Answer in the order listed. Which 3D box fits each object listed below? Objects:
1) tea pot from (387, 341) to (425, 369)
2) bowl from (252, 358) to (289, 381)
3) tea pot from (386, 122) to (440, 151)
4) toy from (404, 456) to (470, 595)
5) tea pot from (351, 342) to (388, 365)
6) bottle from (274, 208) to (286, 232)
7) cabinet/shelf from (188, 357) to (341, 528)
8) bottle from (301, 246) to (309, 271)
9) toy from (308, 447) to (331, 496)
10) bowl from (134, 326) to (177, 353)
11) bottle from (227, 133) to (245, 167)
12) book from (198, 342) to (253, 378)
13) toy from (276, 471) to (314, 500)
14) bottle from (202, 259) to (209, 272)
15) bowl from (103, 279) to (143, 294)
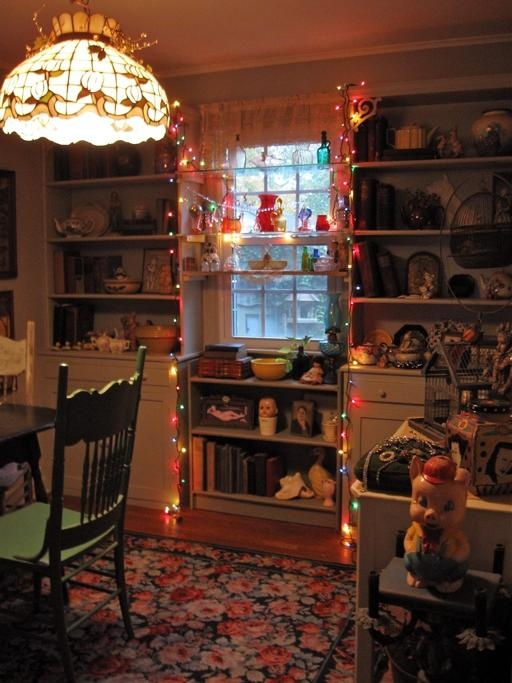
[{"bbox_3d":[0.773,0.066,2.921,0.132,0.080,0.130,0,-4,0],"label":"tea pot"},{"bbox_3d":[0.076,0.153,3.286,0.201,0.121,0.242,0,4,-1],"label":"bowl"},{"bbox_3d":[0.789,-1.019,2.901,0.245,0.180,0.217,1,4,9],"label":"tea pot"},{"bbox_3d":[0.374,0.374,1.203,0.125,0.284,0.144,1,4,14],"label":"toy"},{"bbox_3d":[0.588,0.068,2.998,0.129,0.084,0.127,0,-3,0],"label":"tea pot"},{"bbox_3d":[0.138,-0.651,3.138,0.056,0.127,0.055,0,4,0],"label":"bottle"},{"bbox_3d":[0.051,0.581,3.253,0.934,0.869,0.307,0,2,16],"label":"cabinet/shelf"},{"bbox_3d":[0.268,-0.444,3.121,0.043,0.123,0.090,1,4,7],"label":"bottle"},{"bbox_3d":[0.358,0.723,3.240,0.119,0.269,0.344,0,4,-1],"label":"toy"},{"bbox_3d":[-0.593,-0.010,3.466,0.264,0.171,0.158,0,4,3],"label":"bowl"},{"bbox_3d":[-0.109,-1.100,3.364,0.076,0.204,0.129,1,4,11],"label":"bottle"},{"bbox_3d":[-0.195,0.080,3.275,0.263,0.173,0.201,1,3,15],"label":"book"},{"bbox_3d":[0.213,0.801,3.210,0.210,0.127,0.154,1,4,15],"label":"toy"},{"bbox_3d":[-0.289,-0.427,3.271,0.065,0.066,0.033,3,5,40],"label":"bottle"},{"bbox_3d":[-0.834,-0.338,3.595,0.238,0.098,0.206,0,4,-5],"label":"bowl"}]
